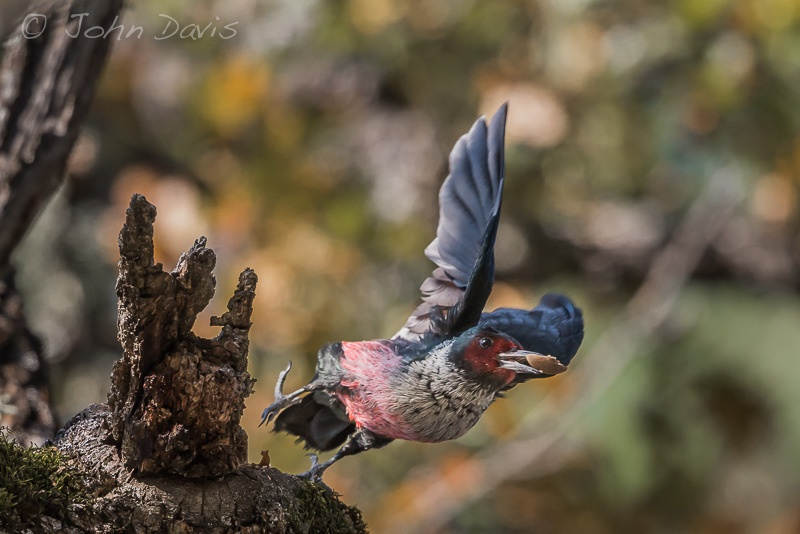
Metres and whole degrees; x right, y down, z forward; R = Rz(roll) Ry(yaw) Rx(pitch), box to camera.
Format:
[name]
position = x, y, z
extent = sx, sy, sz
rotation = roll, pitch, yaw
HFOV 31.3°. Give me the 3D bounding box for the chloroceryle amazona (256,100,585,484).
[chloroceryle amazona]
position = 0.114, 0.269, 5.938
extent = 1.398, 0.990, 0.824
rotation = -39, 63, -24
